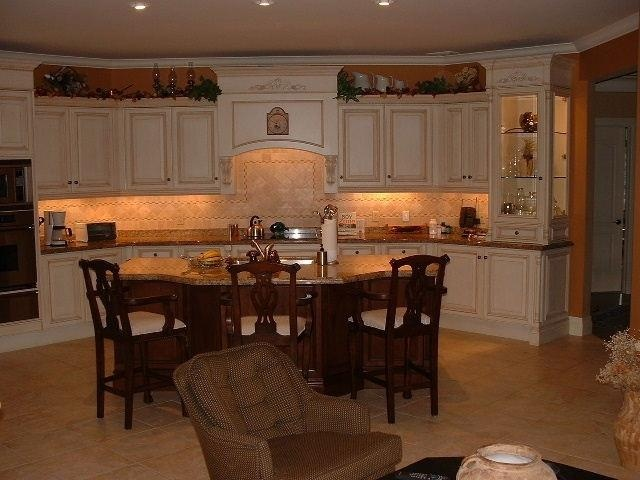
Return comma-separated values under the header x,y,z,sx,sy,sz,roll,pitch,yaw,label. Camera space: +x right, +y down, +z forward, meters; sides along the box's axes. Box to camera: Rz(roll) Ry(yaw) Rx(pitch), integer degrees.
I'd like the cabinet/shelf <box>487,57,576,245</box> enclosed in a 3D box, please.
x,y,z,sx,sy,sz,roll,pitch,yaw,label
2.610,-1.104,6.416,1.049,2.265,0.649,1,9,12,cabinet/shelf

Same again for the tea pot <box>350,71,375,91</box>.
x,y,z,sx,sy,sz,roll,pitch,yaw,label
0.599,-2.224,7.208,0.290,0.263,0.241,-1,8,0,tea pot

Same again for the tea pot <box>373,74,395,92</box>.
x,y,z,sx,sy,sz,roll,pitch,yaw,label
0.879,-2.196,7.222,0.275,0.290,0.284,-1,8,0,tea pot

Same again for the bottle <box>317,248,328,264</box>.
x,y,z,sx,sy,sz,roll,pitch,yaw,label
0.014,0.151,4.933,0.100,0.163,0.191,-1,7,-2,bottle

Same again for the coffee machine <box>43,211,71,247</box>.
x,y,z,sx,sy,sz,roll,pitch,yaw,label
-3.453,-0.153,6.646,0.262,0.443,0.122,-2,9,-6,coffee machine

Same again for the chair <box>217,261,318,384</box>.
x,y,z,sx,sy,sz,roll,pitch,yaw,label
-0.459,0.657,4.211,0.868,0.929,0.791,0,2,20,chair

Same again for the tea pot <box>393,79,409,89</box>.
x,y,z,sx,sy,sz,roll,pitch,yaw,label
1.125,-2.194,7.246,0.195,0.180,0.233,0,7,7,tea pot

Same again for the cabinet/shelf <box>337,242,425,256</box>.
x,y,z,sx,sy,sz,roll,pitch,yaw,label
0.854,0.128,7.015,1.191,0.186,0.154,0,8,1,cabinet/shelf

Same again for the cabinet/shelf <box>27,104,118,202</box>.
x,y,z,sx,sy,sz,roll,pitch,yaw,label
-3.234,-1.211,7.101,1.574,1.153,0.522,5,11,22,cabinet/shelf

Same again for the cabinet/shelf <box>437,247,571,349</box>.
x,y,z,sx,sy,sz,roll,pitch,yaw,label
2.360,0.710,6.372,1.492,0.816,0.597,2,3,36,cabinet/shelf

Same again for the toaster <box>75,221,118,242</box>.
x,y,z,sx,sy,sz,roll,pitch,yaw,label
-3.081,-0.117,7.067,0.484,0.258,0.303,-6,9,-37,toaster
